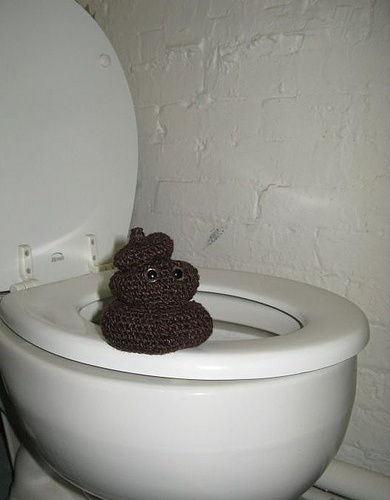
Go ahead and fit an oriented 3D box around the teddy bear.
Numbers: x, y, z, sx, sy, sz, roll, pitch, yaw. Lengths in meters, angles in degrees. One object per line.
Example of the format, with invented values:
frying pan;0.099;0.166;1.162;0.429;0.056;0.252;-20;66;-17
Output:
teddy bear;-0.039;0.035;0.452;0.116;0.109;0.107;4;9;12
